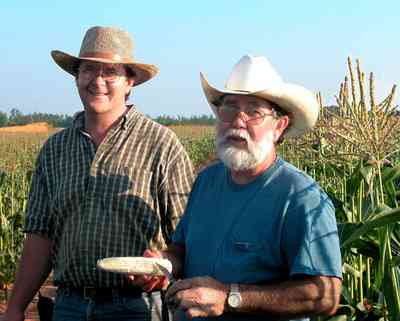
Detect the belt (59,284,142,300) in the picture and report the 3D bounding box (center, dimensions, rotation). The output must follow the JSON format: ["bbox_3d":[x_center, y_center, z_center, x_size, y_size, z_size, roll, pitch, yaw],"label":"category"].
[{"bbox_3d":[-0.905,1.234,3.800,0.351,0.092,0.235,3,-12,3],"label":"belt"}]
